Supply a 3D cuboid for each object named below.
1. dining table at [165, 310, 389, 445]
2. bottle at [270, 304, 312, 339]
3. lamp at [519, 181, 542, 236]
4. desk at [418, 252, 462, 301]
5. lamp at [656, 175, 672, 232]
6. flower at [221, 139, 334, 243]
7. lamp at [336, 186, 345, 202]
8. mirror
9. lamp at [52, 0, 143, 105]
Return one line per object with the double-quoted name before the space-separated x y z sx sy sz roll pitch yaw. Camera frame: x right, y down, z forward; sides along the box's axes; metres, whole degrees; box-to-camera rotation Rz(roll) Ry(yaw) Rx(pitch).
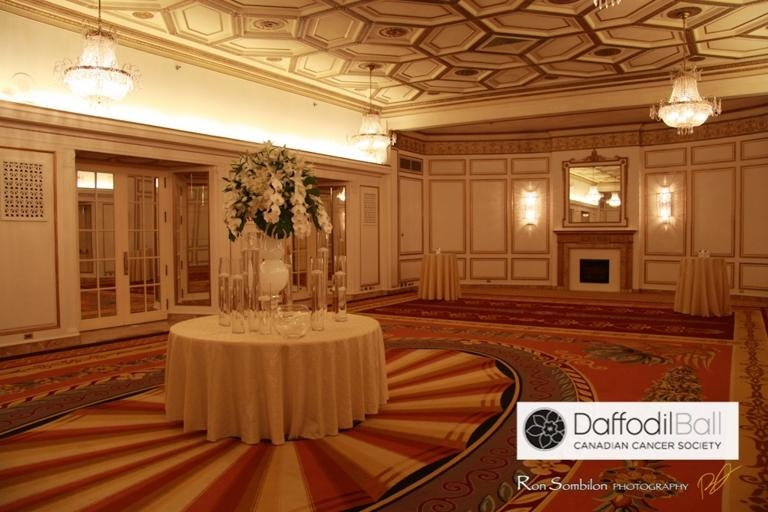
"dining table" -1.022 1.119 4.272 1.930 0.901 0.746 1 8 5
"bottle" -0.777 0.556 4.003 0.332 0.225 0.297 3 -4 -28
"lamp" 4.093 -1.336 13.064 0.548 1.374 0.177 1 8 8
"desk" 1.354 0.471 11.243 1.290 1.064 1.067 0 -1 -6
"lamp" 7.045 -1.318 11.777 0.415 1.200 0.139 4 9 28
"flower" -0.980 -0.582 4.290 0.939 0.887 0.465 -2 8 -12
"lamp" -0.972 -1.442 10.970 0.241 0.276 0.111 2 -2 -11
"mirror" 5.604 -1.701 12.321 2.073 2.286 0.066 3 9 27
"lamp" -3.798 -2.523 6.278 0.791 0.912 0.347 -4 9 -25
